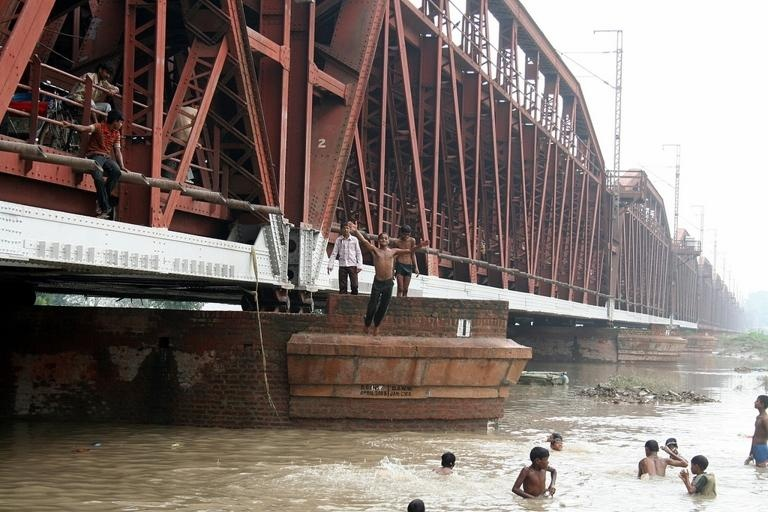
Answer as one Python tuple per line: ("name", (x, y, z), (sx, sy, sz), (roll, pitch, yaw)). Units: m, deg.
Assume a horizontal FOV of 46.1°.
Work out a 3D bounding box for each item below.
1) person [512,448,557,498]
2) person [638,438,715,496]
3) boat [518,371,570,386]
("person", (3.040, 4.247, 17.828), (1.006, 0.993, 0.541), (3, 0, -39))
("person", (6.196, 4.458, 18.963), (1.684, 0.836, 0.729), (17, 11, 39))
("boat", (6.414, 4.961, 36.508), (2.180, 0.502, 1.330), (3, 0, -45))
